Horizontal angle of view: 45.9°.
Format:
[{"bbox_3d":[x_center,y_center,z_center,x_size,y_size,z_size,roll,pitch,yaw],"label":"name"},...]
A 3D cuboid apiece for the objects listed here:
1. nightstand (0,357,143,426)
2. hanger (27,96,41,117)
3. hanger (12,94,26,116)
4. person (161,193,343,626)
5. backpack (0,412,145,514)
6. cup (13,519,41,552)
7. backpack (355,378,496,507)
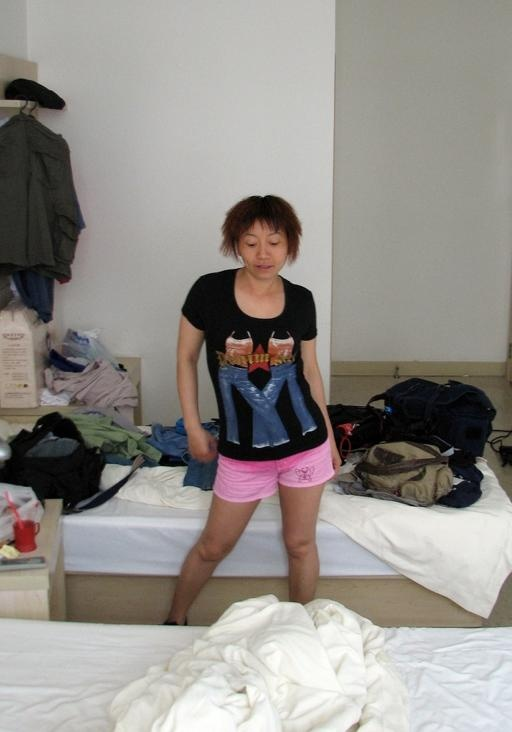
[{"bbox_3d":[-0.899,0.092,3.341,0.781,0.391,0.735,0,1,-2],"label":"nightstand"},{"bbox_3d":[-1.156,-1.337,3.142,0.081,0.107,0.042,-6,14,-23],"label":"hanger"},{"bbox_3d":[-1.171,-1.311,3.015,0.079,0.104,0.039,3,11,4],"label":"hanger"},{"bbox_3d":[-0.022,0.188,1.637,0.537,1.227,0.254,0,10,-3],"label":"person"},{"bbox_3d":[-0.666,0.283,2.069,0.286,0.125,0.361,12,23,15],"label":"backpack"},{"bbox_3d":[-0.598,0.442,1.567,0.085,0.076,0.054,3,-1,-24],"label":"cup"},{"bbox_3d":[0.682,0.294,2.381,0.498,0.182,0.373,-11,21,-20],"label":"backpack"}]
